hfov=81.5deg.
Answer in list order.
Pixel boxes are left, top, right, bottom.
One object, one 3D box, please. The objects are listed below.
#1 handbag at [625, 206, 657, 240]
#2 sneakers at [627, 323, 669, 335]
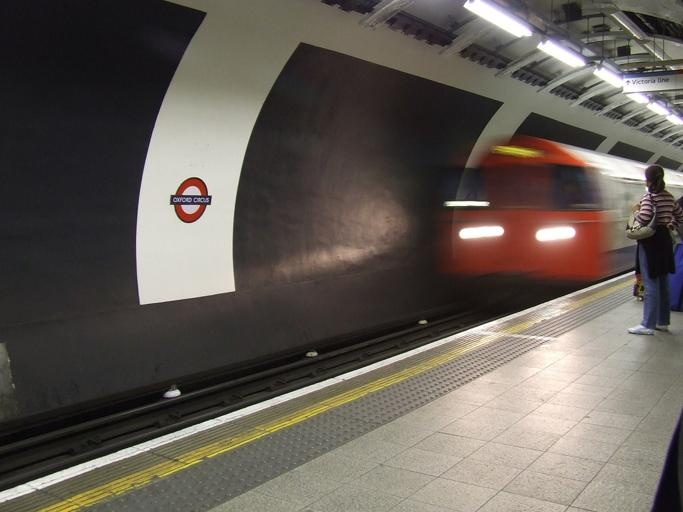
[{"bbox_3d":[4.302,-0.445,5.703,0.272,0.471,0.337,-6,7,-44],"label":"handbag"},{"bbox_3d":[4.586,1.098,5.899,0.490,0.201,0.178,3,2,17],"label":"sneakers"}]
